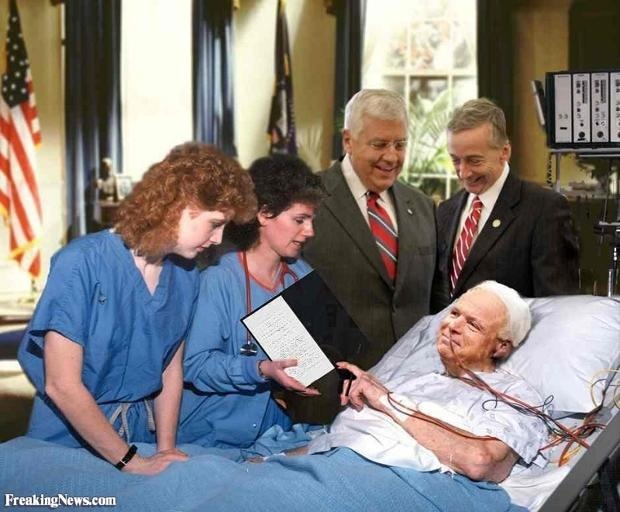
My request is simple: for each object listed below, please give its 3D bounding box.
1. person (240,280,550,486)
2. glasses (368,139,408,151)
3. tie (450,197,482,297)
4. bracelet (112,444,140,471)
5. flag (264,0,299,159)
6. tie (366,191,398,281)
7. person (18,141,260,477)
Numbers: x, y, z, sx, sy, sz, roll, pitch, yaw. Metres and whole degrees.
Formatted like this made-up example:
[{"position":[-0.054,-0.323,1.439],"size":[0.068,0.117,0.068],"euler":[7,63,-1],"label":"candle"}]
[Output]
[{"position":[0.557,0.591,3.034],"size":[0.682,0.349,0.860],"euler":[12,28,42],"label":"person"},{"position":[0.349,-0.497,3.465],"size":[0.188,0.061,0.069],"euler":[-4,9,-9],"label":"glasses"},{"position":[0.749,-0.025,3.691],"size":[0.053,0.498,0.064],"euler":[22,-10,-8],"label":"tie"},{"position":[-0.659,0.730,2.782],"size":[0.082,0.057,0.085],"euler":[-37,15,28],"label":"bracelet"},{"position":[-0.268,-1.680,7.273],"size":[0.171,1.423,0.471],"euler":[2,10,25],"label":"flag"},{"position":[0.331,-0.109,3.597],"size":[0.108,0.457,0.023],"euler":[-3,-19,-25],"label":"tie"},{"position":[-0.634,0.180,2.907],"size":[0.850,1.176,0.452],"euler":[-9,11,-35],"label":"person"}]
